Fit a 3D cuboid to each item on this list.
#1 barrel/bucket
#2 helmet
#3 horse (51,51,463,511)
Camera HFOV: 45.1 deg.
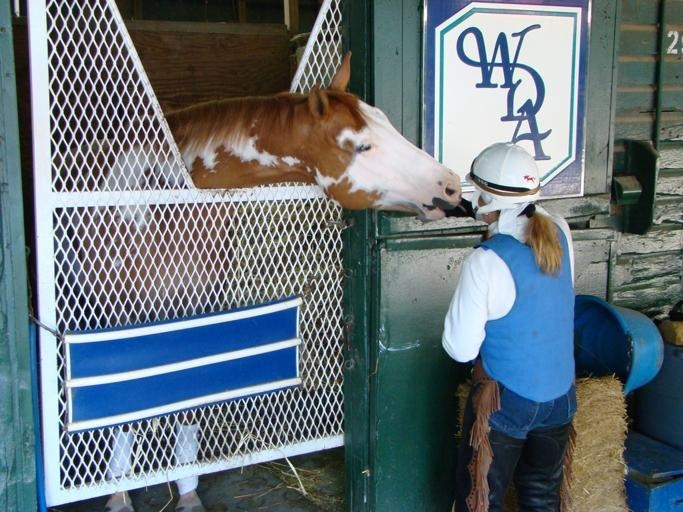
[{"bbox_3d":[1.440,0.474,4.309,0.348,0.533,0.500,-6,-4,-27],"label":"barrel/bucket"},{"bbox_3d":[0.720,-0.374,3.618,0.199,0.166,0.286,0,31,-30],"label":"helmet"},{"bbox_3d":[-0.257,0.174,3.917,1.634,2.279,0.564,1,-3,4],"label":"horse"}]
